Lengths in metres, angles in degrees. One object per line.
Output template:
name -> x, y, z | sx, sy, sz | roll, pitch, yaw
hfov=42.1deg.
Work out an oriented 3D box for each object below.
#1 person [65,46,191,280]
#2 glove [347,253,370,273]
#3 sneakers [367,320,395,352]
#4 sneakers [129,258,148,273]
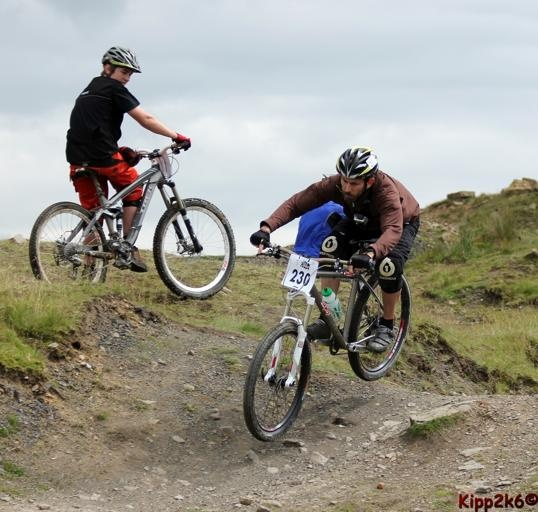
person -> -1.812, -1.474, 8.258 | 1.071, 1.916, 0.454 | 6, 5, -13
glove -> 0.820, 0.057, 6.294 | 0.199, 0.177, 0.249 | 7, 4, 10
sneakers -> 1.187, 0.818, 7.396 | 0.210, 0.173, 0.460 | 20, 33, 18
sneakers -> -1.587, 0.111, 8.554 | 0.232, 0.082, 0.152 | 28, -44, -19
